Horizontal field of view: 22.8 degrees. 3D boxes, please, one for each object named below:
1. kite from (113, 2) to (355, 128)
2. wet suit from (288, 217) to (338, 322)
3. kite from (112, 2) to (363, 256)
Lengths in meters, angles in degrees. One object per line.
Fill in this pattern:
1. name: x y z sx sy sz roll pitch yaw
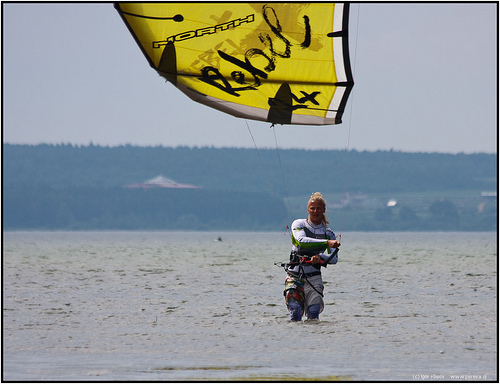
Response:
1. kite: 0.197 -3.938 35.559 6.732 4.082 4.253 -3 -2 3
2. wet suit: 1.671 2.045 33.518 1.291 2.749 1.403 1 -17 1
3. kite: -0.013 -3.609 33.068 5.658 2.760 1.898 4 -17 -9
